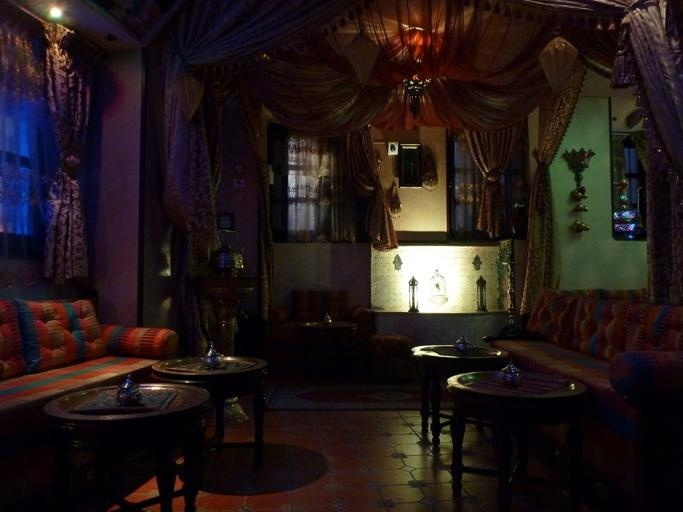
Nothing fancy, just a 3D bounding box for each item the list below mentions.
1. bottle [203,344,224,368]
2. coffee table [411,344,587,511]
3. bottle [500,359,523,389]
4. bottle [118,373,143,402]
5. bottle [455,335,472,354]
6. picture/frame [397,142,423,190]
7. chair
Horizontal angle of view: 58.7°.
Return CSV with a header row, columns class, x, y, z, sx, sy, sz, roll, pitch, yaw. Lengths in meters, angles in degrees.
class,x,y,z,sx,sy,sz,roll,pitch,yaw
bottle,-1.007,0.760,4.653,0.123,0.204,0.189,-1,0,6
coffee table,1.120,1.215,4.468,0.881,0.916,1.437,-1,-2,-8
bottle,1.192,0.805,4.174,0.125,0.171,0.132,1,2,0
bottle,-1.294,0.801,3.738,0.126,0.187,0.135,1,1,0
bottle,1.083,0.754,5.216,0.140,0.187,0.158,-2,2,-11
picture/frame,1.036,-1.362,9.100,0.356,0.737,0.064,3,34,11
chair,-0.270,1.043,7.929,1.173,0.951,0.893,0,-14,0
